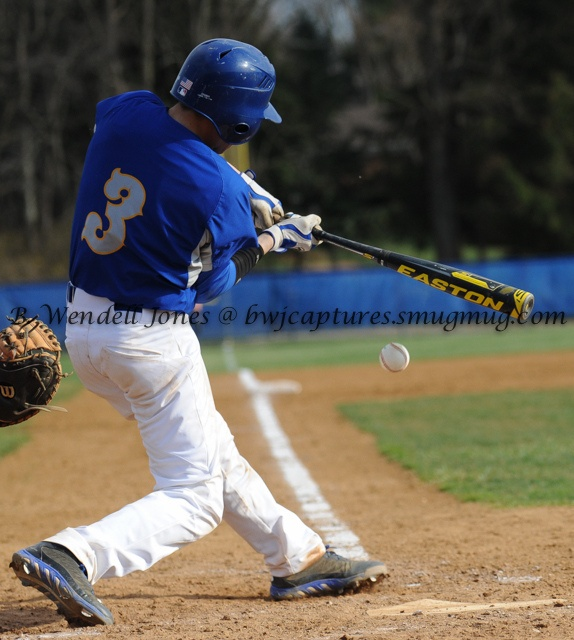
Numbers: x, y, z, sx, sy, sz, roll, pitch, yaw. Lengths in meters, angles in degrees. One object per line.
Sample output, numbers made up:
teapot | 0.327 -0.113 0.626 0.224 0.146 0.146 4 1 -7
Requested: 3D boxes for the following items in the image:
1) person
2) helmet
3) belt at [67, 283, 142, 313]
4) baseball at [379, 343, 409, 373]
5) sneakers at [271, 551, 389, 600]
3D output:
person | -0.435 0.038 3.309 1.392 2.122 0.618 -9 12 -27
helmet | -0.227 -0.836 3.371 0.493 0.302 0.329 8 25 -28
belt | -0.641 -0.060 3.192 0.215 0.138 0.154 2 0 -7
baseball | 0.442 0.158 3.773 0.162 0.110 0.129 -4 -1 4
sneakers | 0.173 0.970 3.555 0.520 0.173 0.165 -18 -12 25
